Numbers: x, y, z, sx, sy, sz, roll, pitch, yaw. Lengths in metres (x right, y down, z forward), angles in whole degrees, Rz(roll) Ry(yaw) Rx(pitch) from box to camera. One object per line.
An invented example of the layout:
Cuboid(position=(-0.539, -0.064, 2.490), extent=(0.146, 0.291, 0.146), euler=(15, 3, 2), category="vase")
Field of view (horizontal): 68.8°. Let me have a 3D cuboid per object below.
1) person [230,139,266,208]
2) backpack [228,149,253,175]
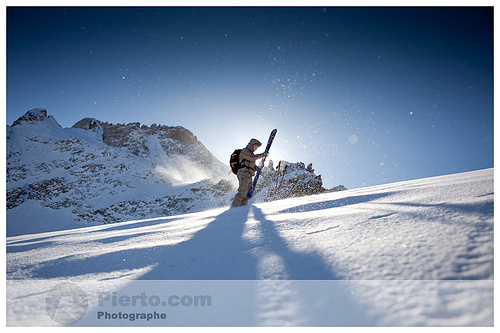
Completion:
Cuboid(position=(-0.093, 0.194, 9.584), extent=(0.846, 1.748, 0.925), euler=(-5, 9, 1), category="person")
Cuboid(position=(-0.272, -0.166, 9.865), extent=(0.618, 0.656, 0.470), euler=(0, -3, -12), category="backpack")
